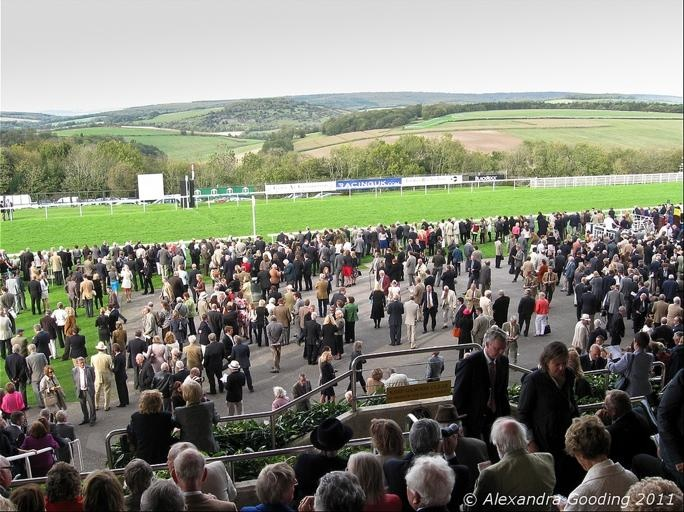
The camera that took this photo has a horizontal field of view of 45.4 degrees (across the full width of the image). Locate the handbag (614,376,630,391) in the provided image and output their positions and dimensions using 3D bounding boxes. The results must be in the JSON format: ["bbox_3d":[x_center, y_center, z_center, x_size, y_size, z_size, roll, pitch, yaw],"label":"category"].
[{"bbox_3d":[5.336,2.404,15.536,0.183,0.308,0.441,-2,10,-4],"label":"handbag"}]

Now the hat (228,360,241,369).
[{"bbox_3d":[-2.443,2.490,18.539,0.198,0.073,0.193,38,24,-9],"label":"hat"}]

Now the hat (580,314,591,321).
[{"bbox_3d":[6.567,1.636,21.908,0.269,0.141,0.328,3,-2,17],"label":"hat"}]

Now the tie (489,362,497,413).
[{"bbox_3d":[2.424,2.103,13.065,0.106,0.809,0.056,1,9,13],"label":"tie"}]

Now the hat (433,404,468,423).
[{"bbox_3d":[1.596,2.383,12.269,0.347,0.284,0.316,-1,10,2],"label":"hat"}]

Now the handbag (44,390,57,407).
[{"bbox_3d":[-6.620,3.227,18.519,0.261,0.325,0.292,-4,-4,43],"label":"handbag"}]

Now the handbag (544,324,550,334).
[{"bbox_3d":[5.916,2.101,23.446,0.074,0.252,0.241,-1,7,23],"label":"handbag"}]
